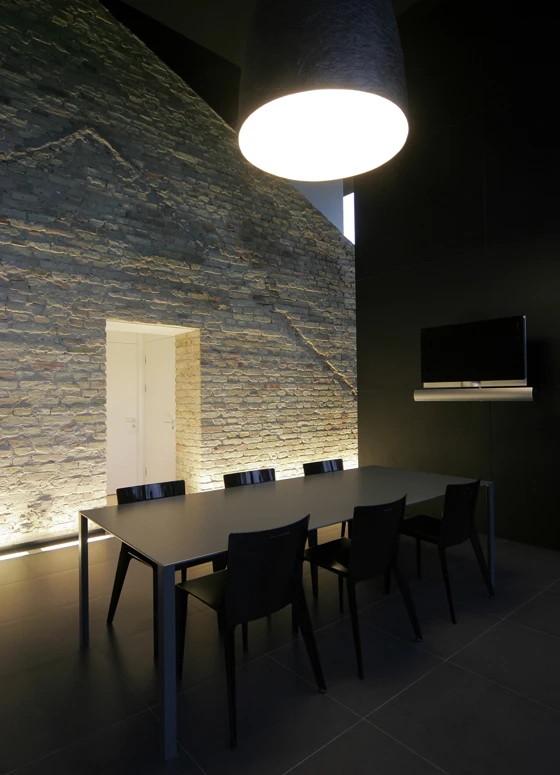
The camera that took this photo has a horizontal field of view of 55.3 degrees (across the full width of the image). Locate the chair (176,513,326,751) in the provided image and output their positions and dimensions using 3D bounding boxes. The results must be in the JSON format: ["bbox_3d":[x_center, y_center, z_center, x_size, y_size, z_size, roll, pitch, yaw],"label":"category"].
[{"bbox_3d":[-0.130,0.859,2.179,0.497,0.718,0.590,-1,1,-35],"label":"chair"}]
